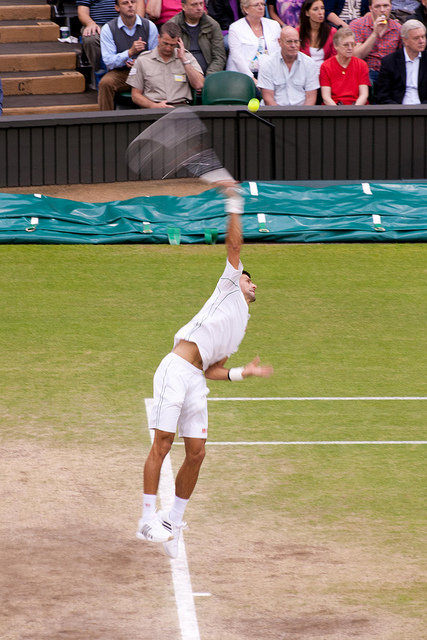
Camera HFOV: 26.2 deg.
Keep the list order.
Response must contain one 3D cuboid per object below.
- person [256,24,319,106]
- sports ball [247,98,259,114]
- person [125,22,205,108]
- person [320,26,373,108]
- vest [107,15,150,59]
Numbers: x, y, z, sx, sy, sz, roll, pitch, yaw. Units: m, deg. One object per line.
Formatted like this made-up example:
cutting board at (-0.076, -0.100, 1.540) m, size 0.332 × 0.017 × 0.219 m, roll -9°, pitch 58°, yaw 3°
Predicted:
person at (1.111, -3.645, 13.563) m, size 0.946 × 1.291 × 0.879 m, roll 0°, pitch 22°, yaw -2°
sports ball at (0.544, -2.995, 12.765) m, size 0.159 × 0.180 × 0.293 m, roll 2°, pitch 14°, yaw 2°
person at (-0.691, -3.629, 13.076) m, size 1.100 × 1.155 × 0.661 m, roll -2°, pitch 14°, yaw -13°
person at (1.931, -3.742, 13.517) m, size 0.740 × 1.064 × 0.575 m, roll 3°, pitch 14°, yaw 5°
vest at (-1.259, -4.219, 13.556) m, size 0.623 × 0.538 × 0.357 m, roll 0°, pitch 14°, yaw -8°
